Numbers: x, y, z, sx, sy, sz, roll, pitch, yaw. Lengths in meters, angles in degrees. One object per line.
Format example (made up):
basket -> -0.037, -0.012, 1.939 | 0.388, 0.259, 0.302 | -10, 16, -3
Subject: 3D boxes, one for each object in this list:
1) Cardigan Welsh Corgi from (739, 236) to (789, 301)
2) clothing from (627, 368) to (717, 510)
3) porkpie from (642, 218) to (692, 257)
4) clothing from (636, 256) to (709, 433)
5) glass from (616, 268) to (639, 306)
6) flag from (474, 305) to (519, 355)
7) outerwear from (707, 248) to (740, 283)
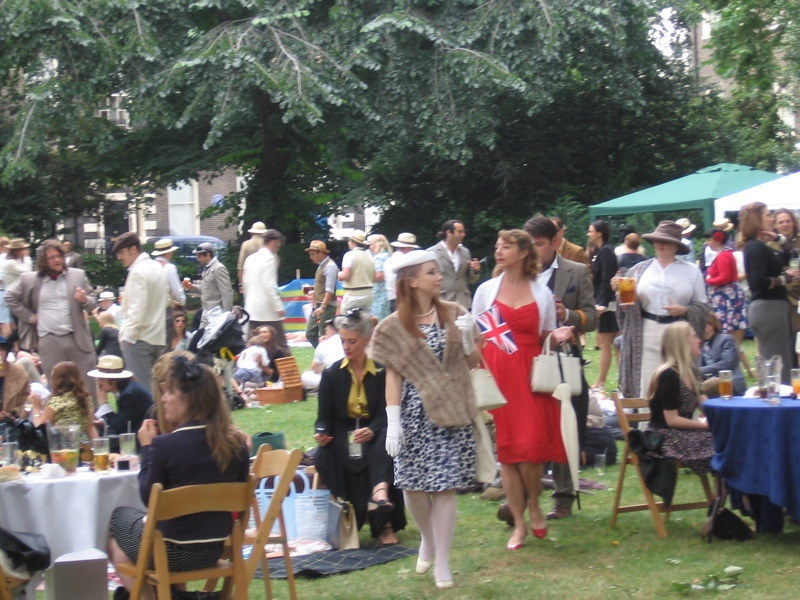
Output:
Cardigan Welsh Corgi -> 3.711, -0.295, 10.952 | 0.468, 0.588, 0.722 | -10, 1, 8
clothing -> 2.237, 1.145, 8.904 | 0.839, 1.056, 0.474 | -6, -14, 7
porkpie -> 2.577, -0.585, 10.145 | 0.345, 0.185, 0.386 | 17, -2, 35
clothing -> 2.481, 0.317, 10.052 | 0.916, 1.793, 0.715 | 2, 4, 22
glass -> 2.066, -0.083, 9.899 | 0.280, 0.238, 0.257 | -1, -2, 3
flag -> 0.802, 0.251, 8.833 | 0.320, 0.364, 0.058 | -36, -8, 12
outerwear -> 4.091, -0.440, 13.678 | 0.466, 0.466, 0.559 | 1, 14, 23
